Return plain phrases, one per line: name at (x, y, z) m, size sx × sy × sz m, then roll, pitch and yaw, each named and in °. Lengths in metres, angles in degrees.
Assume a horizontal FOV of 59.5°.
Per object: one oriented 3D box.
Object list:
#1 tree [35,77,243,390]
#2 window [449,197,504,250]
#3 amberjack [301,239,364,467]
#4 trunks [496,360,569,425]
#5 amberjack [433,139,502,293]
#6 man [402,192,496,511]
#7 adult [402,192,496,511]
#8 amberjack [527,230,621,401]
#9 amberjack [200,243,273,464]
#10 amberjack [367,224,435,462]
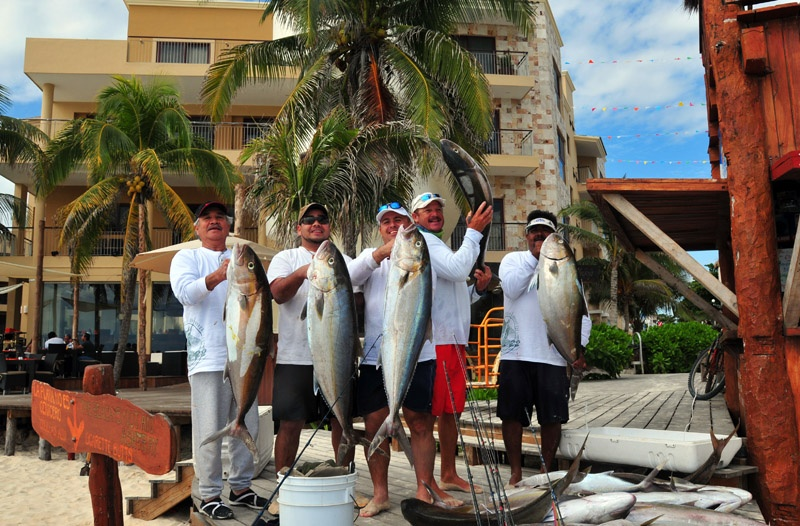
tree at (-7.416, -1.121, 20.188) m, size 4.946 × 8.028 × 4.989 m, roll 5°, pitch 7°, yaw 6°
window at (3.028, -1.282, 25.903) m, size 2.154 × 2.504 × 1.441 m, roll 2°, pitch -2°, yaw 10°
amberjack at (-0.746, 1.010, 7.823) m, size 0.593 × 2.488 × 0.422 m, roll -3°, pitch -3°, yaw -4°
trunks at (1.649, 1.657, 9.066) m, size 1.054 × 1.096 × 0.684 m, roll 0°, pitch -12°, yaw 7°
amberjack at (0.840, -0.590, 8.376) m, size 0.413 × 2.031 × 0.430 m, roll -9°, pitch 7°, yaw -26°
man at (0.670, 1.015, 8.579) m, size 1.040 × 3.830 × 1.289 m, roll 1°, pitch -1°, yaw 0°
adult at (0.676, 1.023, 8.582) m, size 1.057 × 3.820 × 1.240 m, roll 0°, pitch -2°, yaw 11°
amberjack at (1.965, 0.617, 8.453) m, size 0.577 × 1.951 × 0.322 m, roll -2°, pitch -3°, yaw -25°
amberjack at (-1.754, 0.965, 7.851) m, size 0.644 × 2.326 × 0.449 m, roll -4°, pitch -3°, yaw 11°
amberjack at (0.029, 0.791, 7.794) m, size 0.698 × 2.396 × 0.300 m, roll -3°, pitch -3°, yaw 3°
